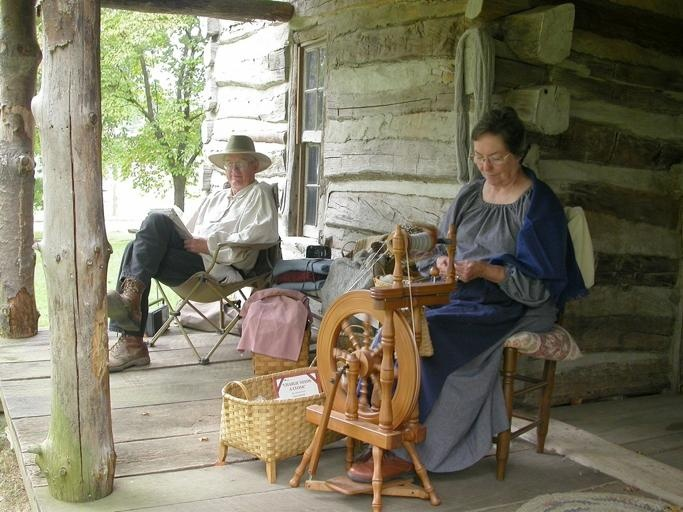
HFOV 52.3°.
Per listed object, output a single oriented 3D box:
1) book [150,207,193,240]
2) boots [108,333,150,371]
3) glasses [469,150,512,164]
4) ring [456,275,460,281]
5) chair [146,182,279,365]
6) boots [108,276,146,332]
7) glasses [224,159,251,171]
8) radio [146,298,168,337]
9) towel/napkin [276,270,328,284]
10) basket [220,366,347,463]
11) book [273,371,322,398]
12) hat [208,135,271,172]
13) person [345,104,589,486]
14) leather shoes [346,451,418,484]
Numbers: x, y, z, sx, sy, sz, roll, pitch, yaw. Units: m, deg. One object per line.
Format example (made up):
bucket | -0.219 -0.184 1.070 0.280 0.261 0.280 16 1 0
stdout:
book | -1.230 -0.251 5.109 0.258 0.057 0.248 13 -22 22
boots | -1.499 0.679 4.911 0.275 0.229 0.242 0 13 -13
glasses | 0.815 -0.532 3.748 0.172 0.052 0.174 0 -3 34
ring | 0.624 0.121 3.705 0.029 0.037 0.010 -1 2 31
chair | -1.008 0.151 5.378 1.012 1.111 1.016 -2 1 -20
boots | -1.489 0.376 4.801 0.235 0.423 0.483 -1 13 -17
glasses | -0.822 -0.720 5.557 0.118 0.078 0.114 3 7 17
radio | -1.521 0.519 5.717 0.089 0.222 0.243 12 31 10
towel/napkin | -0.297 0.161 5.007 0.364 0.110 0.044 4 14 8
basket | -0.299 0.818 3.694 0.429 0.365 0.613 -3 -5 41
book | -0.225 0.692 3.687 0.195 0.134 0.058 -4 -7 -17
hat | -0.814 -0.813 5.630 0.363 0.140 0.396 0 -19 0
person | 0.751 0.134 3.641 0.748 1.800 0.992 14 17 37
leather shoes | 0.197 1.041 3.428 0.316 0.125 0.132 1 -3 -9
